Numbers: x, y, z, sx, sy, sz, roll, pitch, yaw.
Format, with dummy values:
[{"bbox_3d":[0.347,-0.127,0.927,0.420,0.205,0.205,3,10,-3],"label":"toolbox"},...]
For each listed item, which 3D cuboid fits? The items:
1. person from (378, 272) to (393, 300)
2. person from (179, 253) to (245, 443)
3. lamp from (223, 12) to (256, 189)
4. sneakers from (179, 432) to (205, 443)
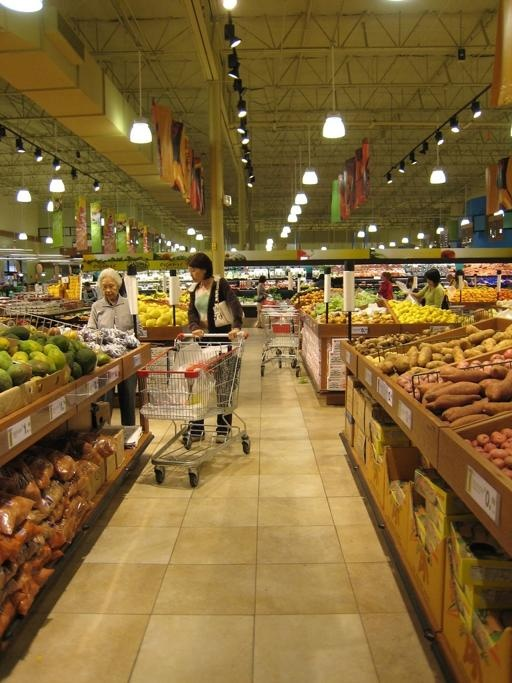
[{"bbox_3d":[2.744,-1.187,10.356,0.286,0.592,1.181,0,4,13],"label":"person"},{"bbox_3d":[-0.337,0.048,4.208,0.474,1.666,1.073,-2,4,-8],"label":"person"},{"bbox_3d":[-0.228,-4.417,8.496,0.344,3.538,0.391,-7,24,-1],"label":"lamp"},{"bbox_3d":[-0.538,0.833,4.195,0.116,0.146,0.262,-2,-5,13],"label":"sneakers"}]
